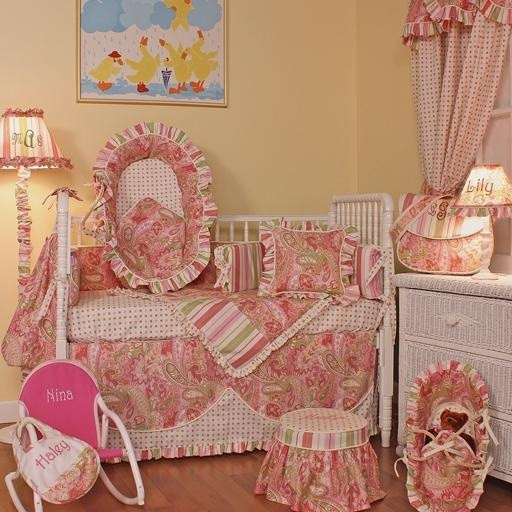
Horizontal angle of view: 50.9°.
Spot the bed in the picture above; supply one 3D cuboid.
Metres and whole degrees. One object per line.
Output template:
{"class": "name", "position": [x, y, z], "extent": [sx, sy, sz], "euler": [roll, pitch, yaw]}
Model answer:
{"class": "bed", "position": [-0.174, 0.400, 2.804], "extent": [1.912, 1.545, 1.066], "euler": [0, -2, -11]}

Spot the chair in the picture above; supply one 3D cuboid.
{"class": "chair", "position": [-0.621, 0.640, 1.806], "extent": [0.404, 0.495, 0.429], "euler": [-11, 16, -37]}
